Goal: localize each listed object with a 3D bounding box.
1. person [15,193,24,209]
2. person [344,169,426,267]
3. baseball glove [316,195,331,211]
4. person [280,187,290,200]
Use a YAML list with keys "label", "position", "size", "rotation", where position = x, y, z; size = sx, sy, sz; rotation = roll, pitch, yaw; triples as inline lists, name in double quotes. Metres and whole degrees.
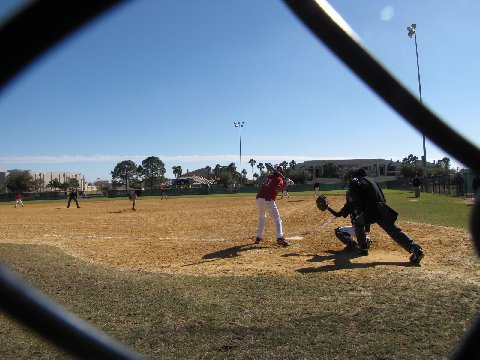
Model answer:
- label: "person"
  position: [-17.335, 1.651, 30.026]
  size: [0.671, 1.348, 0.778]
  rotation: [7, -23, -41]
- label: "person"
  position: [2.224, 0.589, 6.181]
  size: [1.274, 1.569, 0.727]
  rotation: [-10, -22, 35]
- label: "baseball glove"
  position: [1.501, 0.430, 7.047]
  size: [0.264, 0.250, 0.202]
  rotation: [15, 8, -5]
- label: "person"
  position: [2.612, 0.868, 22.427]
  size: [0.173, 0.897, 0.476]
  rotation: [6, -15, 44]
